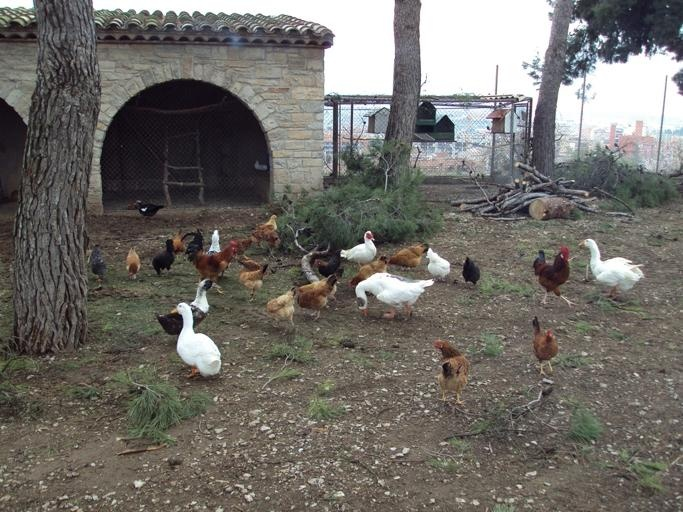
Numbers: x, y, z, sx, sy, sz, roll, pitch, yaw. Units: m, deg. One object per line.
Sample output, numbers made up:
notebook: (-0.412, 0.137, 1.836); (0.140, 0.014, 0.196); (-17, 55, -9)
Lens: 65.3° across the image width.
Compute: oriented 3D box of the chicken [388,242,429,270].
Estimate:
chicken: (1.351, -0.004, 10.264); (0.877, 0.462, 0.411); (-11, -10, 16)

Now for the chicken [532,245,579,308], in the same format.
chicken: (3.616, 0.274, 8.956); (0.677, 1.066, 1.144); (4, 11, 18)

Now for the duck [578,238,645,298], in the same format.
duck: (4.742, 0.231, 9.180); (0.767, 0.882, 0.783); (4, 11, 17)

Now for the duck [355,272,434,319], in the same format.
duck: (0.744, 0.672, 8.290); (1.287, 0.701, 1.220); (0, 10, -10)

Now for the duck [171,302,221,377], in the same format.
duck: (-1.767, 1.052, 6.526); (0.491, 0.880, 0.629); (-3, 11, -17)

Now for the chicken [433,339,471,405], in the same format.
chicken: (1.445, 1.362, 6.332); (0.380, 0.726, 0.783); (-7, -16, 31)

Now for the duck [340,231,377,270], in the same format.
duck: (0.501, -0.128, 10.162); (0.840, 0.607, 0.472); (3, 8, 27)

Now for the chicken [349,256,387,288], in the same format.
chicken: (0.516, 0.256, 9.366); (0.788, 0.439, 0.355); (-26, 26, -25)

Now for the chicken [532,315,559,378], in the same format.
chicken: (2.647, 1.127, 6.878); (0.312, 0.686, 0.698); (5, 11, 23)

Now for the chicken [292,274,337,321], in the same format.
chicken: (-0.391, 0.598, 8.190); (0.734, 0.630, 0.338); (-8, 15, -8)
